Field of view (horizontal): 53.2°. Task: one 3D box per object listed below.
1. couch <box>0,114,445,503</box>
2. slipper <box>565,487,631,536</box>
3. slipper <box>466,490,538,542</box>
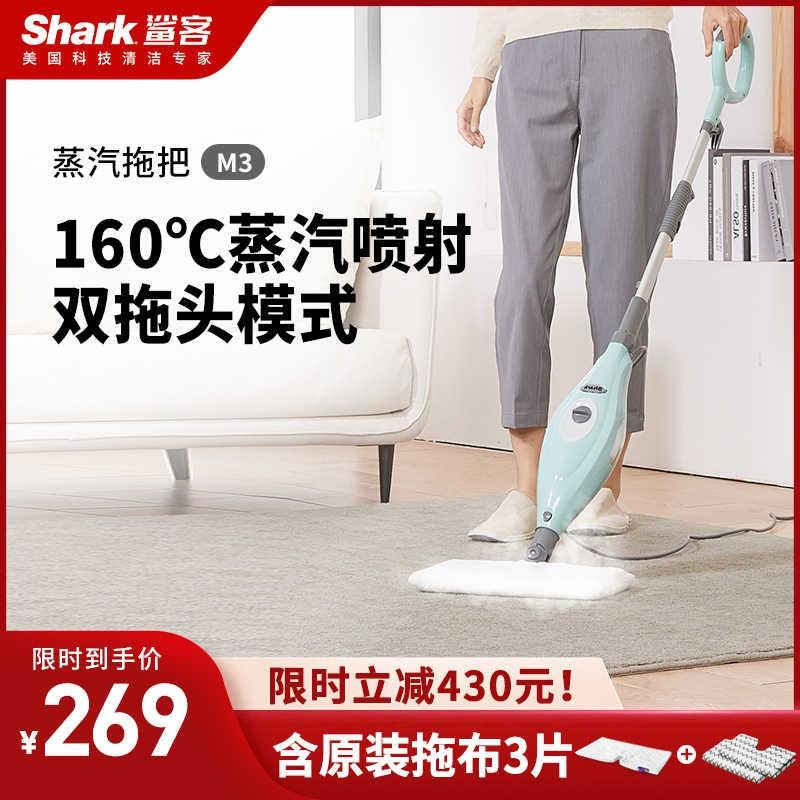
[{"bbox_3d":[-0.304,-0.179,1.932,1.029,0.966,0.749,-1,-2,-7],"label":"couch"},{"bbox_3d":[0.359,0.206,1.457,0.111,0.067,0.071,3,-5,-34],"label":"slipper"},{"bbox_3d":[0.173,0.195,1.362,0.059,0.055,0.131,-1,5,35],"label":"slipper"}]
